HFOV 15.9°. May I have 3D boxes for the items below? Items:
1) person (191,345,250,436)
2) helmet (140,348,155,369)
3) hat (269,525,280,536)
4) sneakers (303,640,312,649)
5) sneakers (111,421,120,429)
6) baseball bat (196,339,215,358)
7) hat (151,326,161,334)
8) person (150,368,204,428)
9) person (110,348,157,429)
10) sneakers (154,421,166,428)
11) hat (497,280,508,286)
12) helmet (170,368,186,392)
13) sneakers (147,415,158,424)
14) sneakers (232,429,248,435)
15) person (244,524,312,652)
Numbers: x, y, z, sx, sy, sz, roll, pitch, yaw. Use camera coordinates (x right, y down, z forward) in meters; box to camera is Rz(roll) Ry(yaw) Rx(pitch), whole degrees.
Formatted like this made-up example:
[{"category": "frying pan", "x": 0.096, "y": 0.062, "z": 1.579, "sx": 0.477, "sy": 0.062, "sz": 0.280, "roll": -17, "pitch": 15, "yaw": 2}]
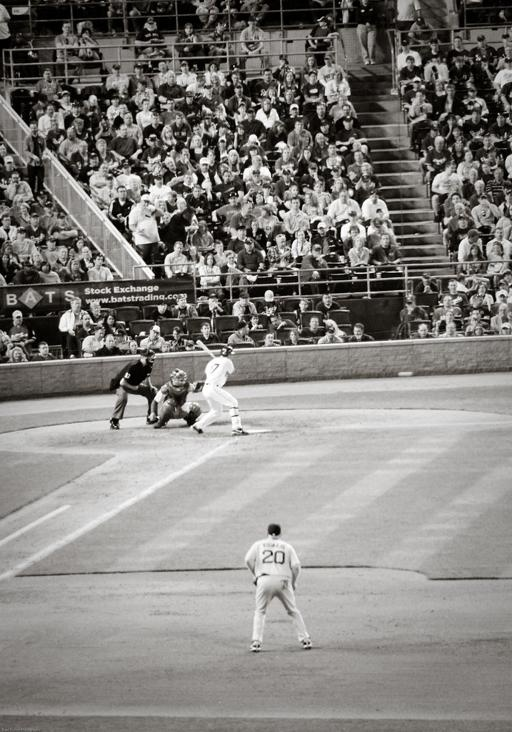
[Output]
[{"category": "person", "x": -0.674, "y": 0.436, "z": 32.658, "sx": 0.947, "sy": 1.812, "sz": 1.707, "roll": -2, "pitch": 12, "yaw": -4}, {"category": "helmet", "x": -1.987, "y": -0.151, "z": 33.194, "sx": 0.240, "sy": 0.413, "sz": 0.440, "roll": -3, "pitch": 12, "yaw": -4}, {"category": "hat", "x": 0.212, "y": 1.969, "z": 22.020, "sx": 0.093, "sy": 0.161, "sz": 0.141, "roll": 2, "pitch": 13, "yaw": 1}, {"category": "sneakers", "x": 0.618, "y": 3.371, "z": 22.184, "sx": 0.076, "sy": 0.131, "sz": 0.171, "roll": -1, "pitch": -17, "yaw": -5}, {"category": "sneakers", "x": -2.580, "y": 1.071, "z": 33.577, "sx": 0.119, "sy": 0.142, "sz": 0.126, "roll": 11, "pitch": 17, "yaw": 34}, {"category": "baseball bat", "x": -1.023, "y": -0.390, "z": 37.166, "sx": 0.067, "sy": 0.191, "sz": 0.720, "roll": 5, "pitch": -30, "yaw": 29}, {"category": "hat", "x": -2.057, "y": -0.778, "z": 37.292, "sx": 0.109, "sy": 0.192, "sz": 0.169, "roll": 5, "pitch": -8, "yaw": 12}, {"category": "person", "x": -1.326, "y": 0.542, "z": 33.628, "sx": 1.065, "sy": 1.288, "sz": 0.618, "roll": -3, "pitch": 26, "yaw": -16}, {"category": "person", "x": -2.195, "y": 0.303, "z": 33.584, "sx": 0.833, "sy": 1.571, "sz": 0.671, "roll": -9, "pitch": 30, "yaw": -38}, {"category": "sneakers", "x": -1.786, "y": 1.076, "z": 33.795, "sx": 0.191, "sy": 0.107, "sz": 0.105, "roll": 1, "pitch": 8, "yaw": 7}, {"category": "hat", "x": 5.214, "y": -1.774, "z": 38.674, "sx": 0.181, "sy": 0.163, "sz": 0.151, "roll": 0, "pitch": 12, "yaw": 10}, {"category": "helmet", "x": -1.406, "y": 0.228, "z": 32.909, "sx": 0.217, "sy": 0.378, "sz": 0.308, "roll": 2, "pitch": 7, "yaw": -9}, {"category": "sneakers", "x": -1.942, "y": 0.987, "z": 34.190, "sx": 0.107, "sy": 0.137, "sz": 0.203, "roll": 5, "pitch": -10, "yaw": -13}, {"category": "sneakers", "x": -0.273, "y": 1.157, "z": 32.227, "sx": 0.238, "sy": 0.155, "sz": 0.119, "roll": -2, "pitch": 9, "yaw": -8}, {"category": "person", "x": 0.270, "y": 2.556, "z": 22.111, "sx": 0.662, "sy": 1.783, "sz": 0.509, "roll": 0, "pitch": 22, "yaw": 1}]
